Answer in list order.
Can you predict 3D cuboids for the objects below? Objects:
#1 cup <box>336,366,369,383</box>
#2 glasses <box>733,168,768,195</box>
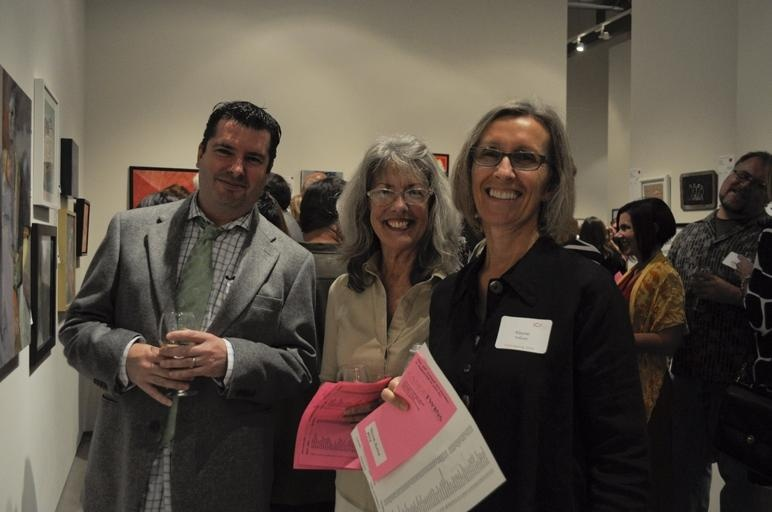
[{"bbox_3d":[-0.142,0.518,2.421,0.094,0.053,0.124,-1,-14,4],"label":"cup"},{"bbox_3d":[1.759,-0.346,2.631,0.094,0.074,0.132,9,-17,25],"label":"glasses"}]
